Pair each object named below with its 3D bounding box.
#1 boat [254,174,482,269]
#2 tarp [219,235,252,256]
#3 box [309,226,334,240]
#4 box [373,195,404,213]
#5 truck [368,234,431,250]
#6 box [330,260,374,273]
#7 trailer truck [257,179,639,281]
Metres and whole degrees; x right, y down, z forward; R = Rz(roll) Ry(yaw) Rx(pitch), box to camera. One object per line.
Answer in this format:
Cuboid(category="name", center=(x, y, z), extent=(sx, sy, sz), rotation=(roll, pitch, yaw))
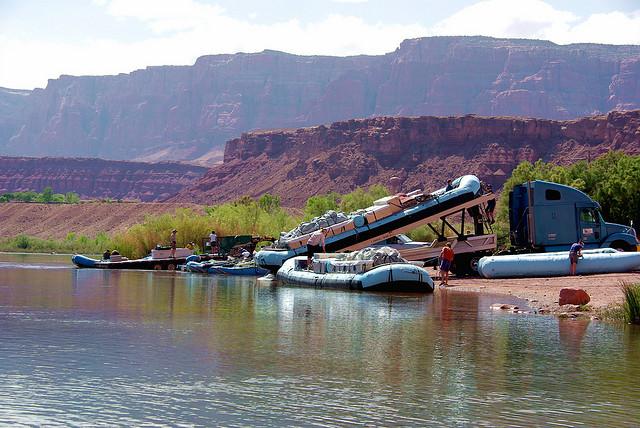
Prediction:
Cuboid(category="boat", center=(2.725, 0.526, 54.390), extent=(13.466, 2.515, 5.128), rotation=(-23, -1, 4))
Cuboid(category="tarp", center=(-5.611, 2.124, 62.969), extent=(1.281, 0.772, 0.063), rotation=(-19, 19, 10))
Cuboid(category="box", center=(0.315, 1.061, 53.771), extent=(0.859, 0.256, 0.810), rotation=(-6, -16, -37))
Cuboid(category="box", center=(4.150, -0.733, 53.697), extent=(1.211, 0.751, 1.118), rotation=(-19, -8, 43))
Cuboid(category="truck", center=(4.793, 1.909, 54.799), extent=(2.774, 0.963, 1.325), rotation=(-10, 3, 3))
Cuboid(category="box", center=(1.597, 2.687, 47.929), extent=(0.600, 0.618, 2.568), rotation=(4, -6, -41))
Cuboid(category="trailer truck", center=(10.797, 0.917, 53.543), extent=(14.132, 5.264, 5.178), rotation=(0, -4, 3))
